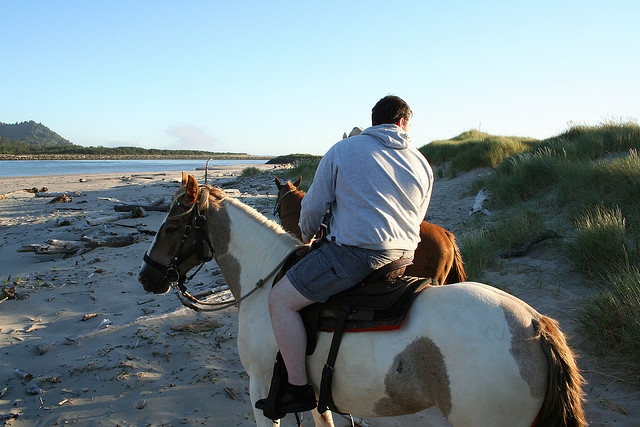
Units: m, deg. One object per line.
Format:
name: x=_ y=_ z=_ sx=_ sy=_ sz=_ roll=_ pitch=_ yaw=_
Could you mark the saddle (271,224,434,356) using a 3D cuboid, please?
saddle: x=0.087 y=0.790 z=4.872 sx=2.556 sy=1.705 sz=0.773 roll=3 pitch=35 yaw=-15
